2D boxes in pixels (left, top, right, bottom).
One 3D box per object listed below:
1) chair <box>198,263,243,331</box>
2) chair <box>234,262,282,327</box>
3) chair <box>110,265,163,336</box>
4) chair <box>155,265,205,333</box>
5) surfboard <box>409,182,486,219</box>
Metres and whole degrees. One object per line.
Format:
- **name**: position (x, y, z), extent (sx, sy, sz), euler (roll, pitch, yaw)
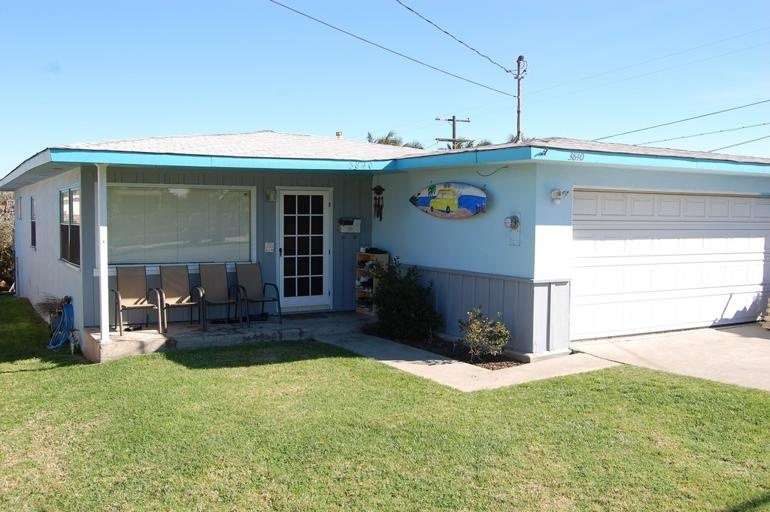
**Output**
- **chair**: position (-3.300, 0.763, 11.610), extent (0.721, 1.168, 1.062), euler (-5, 15, -18)
- **chair**: position (-2.583, 0.726, 11.736), extent (1.030, 1.156, 0.987), euler (1, 2, 14)
- **chair**: position (-4.698, 0.807, 10.940), extent (0.817, 1.197, 0.886), euler (-6, 16, -25)
- **chair**: position (-3.955, 0.786, 11.253), extent (0.775, 1.170, 0.894), euler (-5, 15, -19)
- **surfboard**: position (1.263, -1.111, 11.140), extent (0.123, 0.728, 1.838), euler (-12, 18, -37)
